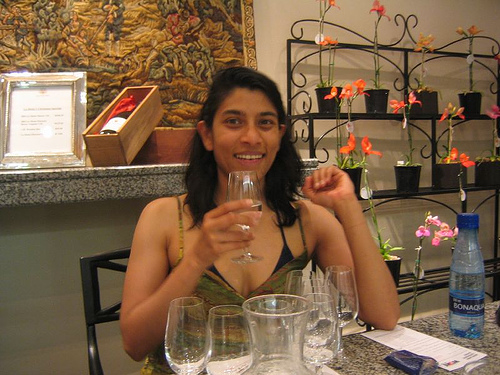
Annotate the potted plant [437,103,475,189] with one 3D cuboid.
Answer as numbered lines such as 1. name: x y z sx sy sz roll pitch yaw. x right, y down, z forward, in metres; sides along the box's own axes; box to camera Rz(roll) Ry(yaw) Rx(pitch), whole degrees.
1. potted plant: 1.442 -0.316 2.785 0.220 0.637 0.931 -1 4 27

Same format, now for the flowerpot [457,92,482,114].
1. flowerpot: 1.589 -0.594 2.861 0.149 0.119 0.139 0 0 33

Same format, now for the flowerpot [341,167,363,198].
1. flowerpot: 0.656 -0.021 2.494 0.187 0.208 0.167 0 -3 -30

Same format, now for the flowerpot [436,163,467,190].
1. flowerpot: 1.436 -0.083 2.776 0.216 0.211 0.153 1 -3 19

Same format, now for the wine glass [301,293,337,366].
1. wine glass: 0.171 0.344 0.950 0.079 0.183 0.076 -2 4 12

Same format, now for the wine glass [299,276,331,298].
1. wine glass: 0.176 0.258 1.041 0.054 0.053 0.056 2 -11 -6

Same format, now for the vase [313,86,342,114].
1. vase: 0.488 -0.532 2.409 0.170 0.137 0.181 0 -3 -2

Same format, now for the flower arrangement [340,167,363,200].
1. flower arrangement: 0.638 -0.040 2.483 0.175 0.228 0.209 0 5 -1

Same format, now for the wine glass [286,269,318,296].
1. wine glass: 0.147 0.265 1.132 0.066 0.065 0.068 -2 -4 25

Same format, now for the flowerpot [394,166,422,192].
1. flowerpot: 1.014 -0.061 2.584 0.162 0.129 0.153 0 2 -14
